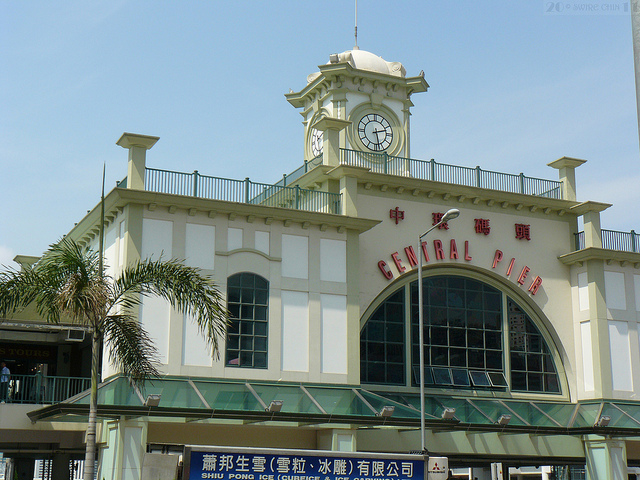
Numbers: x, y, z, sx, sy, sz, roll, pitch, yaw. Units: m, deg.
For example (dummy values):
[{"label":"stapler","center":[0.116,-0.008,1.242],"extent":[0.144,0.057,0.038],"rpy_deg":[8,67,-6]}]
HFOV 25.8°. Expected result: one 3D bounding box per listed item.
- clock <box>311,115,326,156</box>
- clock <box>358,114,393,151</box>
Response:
[{"label":"clock","center":[-0.065,-5.402,72.476],"extent":[0.242,2.444,2.308],"rpy_deg":[3,-4,-22]},{"label":"clock","center":[2.824,-5.621,74.038],"extent":[1.993,2.117,0.147],"rpy_deg":[4,-20,-32]}]
